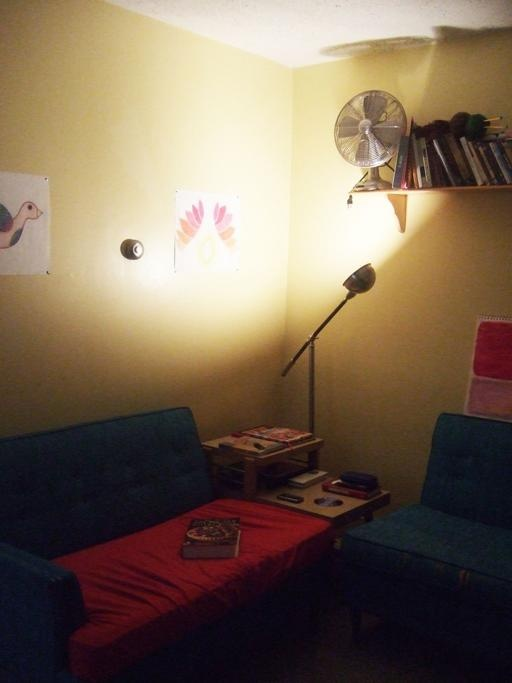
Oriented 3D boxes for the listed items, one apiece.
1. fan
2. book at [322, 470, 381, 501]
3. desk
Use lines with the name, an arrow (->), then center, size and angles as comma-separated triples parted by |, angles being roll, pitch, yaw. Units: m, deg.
fan -> 0.536, -0.893, 2.589 | 0.339, 0.417, 0.220 | 8, 12, 41
book -> 0.423, 0.629, 2.535 | 0.132, 0.037, 0.141 | 4, 8, 38
desk -> 0.176, 0.723, 2.632 | 0.494, 0.488, 0.762 | -7, 8, -40
